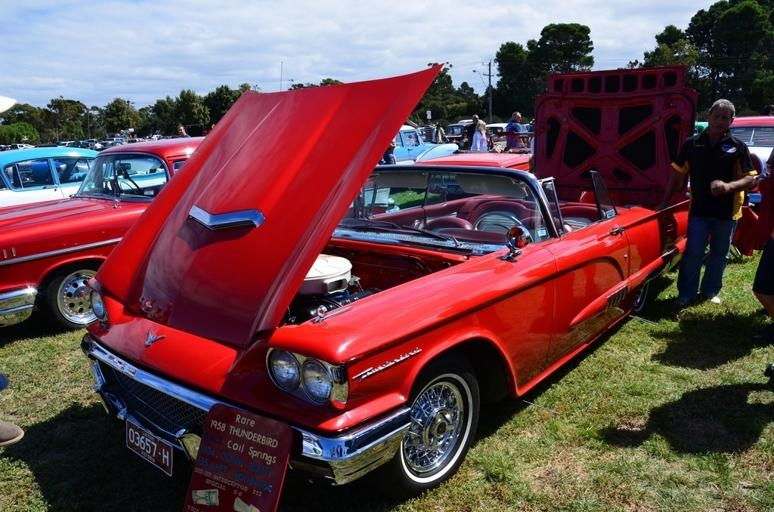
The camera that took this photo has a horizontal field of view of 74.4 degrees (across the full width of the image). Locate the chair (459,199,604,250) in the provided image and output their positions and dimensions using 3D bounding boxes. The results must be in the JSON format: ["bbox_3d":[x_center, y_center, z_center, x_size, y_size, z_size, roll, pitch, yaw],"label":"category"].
[{"bbox_3d":[1.136,-0.282,4.089,0.796,0.289,0.572,-5,5,7],"label":"chair"}]
